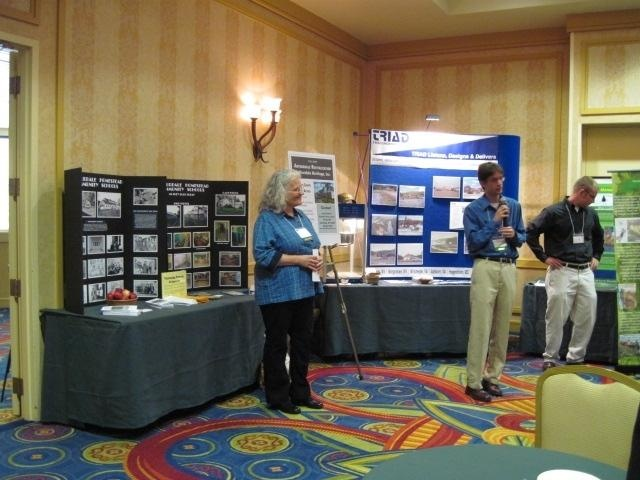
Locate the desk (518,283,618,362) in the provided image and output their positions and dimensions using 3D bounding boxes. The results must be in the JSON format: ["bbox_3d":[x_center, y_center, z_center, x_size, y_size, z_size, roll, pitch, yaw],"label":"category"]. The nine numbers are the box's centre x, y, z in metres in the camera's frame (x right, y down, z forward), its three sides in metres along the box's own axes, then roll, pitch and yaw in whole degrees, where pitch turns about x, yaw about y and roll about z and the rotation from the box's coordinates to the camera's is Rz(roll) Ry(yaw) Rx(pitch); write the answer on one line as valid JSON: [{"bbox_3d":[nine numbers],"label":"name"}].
[{"bbox_3d":[3.056,0.933,5.904,1.366,0.755,1.360,-6,-9,30],"label":"desk"}]

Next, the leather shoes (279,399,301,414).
[{"bbox_3d":[-0.239,1.315,4.062,0.190,0.074,0.072,-5,-6,29],"label":"leather shoes"}]

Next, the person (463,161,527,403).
[{"bbox_3d":[1.477,0.354,4.432,0.504,2.008,0.391,-2,5,-28],"label":"person"}]

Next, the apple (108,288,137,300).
[{"bbox_3d":[-1.519,0.424,3.939,0.127,0.069,0.128,1,-1,31],"label":"apple"}]

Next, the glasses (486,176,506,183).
[{"bbox_3d":[1.480,-0.503,4.368,0.117,0.045,0.152,0,2,16],"label":"glasses"}]

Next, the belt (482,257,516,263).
[{"bbox_3d":[1.477,0.175,4.322,0.278,0.058,0.045,-1,5,-12],"label":"belt"}]

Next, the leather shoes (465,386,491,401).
[{"bbox_3d":[1.346,1.315,4.405,0.079,0.075,0.192,1,-4,-31],"label":"leather shoes"}]

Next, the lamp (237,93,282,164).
[{"bbox_3d":[-0.635,-1.275,5.858,0.304,0.783,0.530,3,5,26],"label":"lamp"}]

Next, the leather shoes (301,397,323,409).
[{"bbox_3d":[-0.071,1.323,4.207,0.164,0.067,0.084,-2,-4,12],"label":"leather shoes"}]

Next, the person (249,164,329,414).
[{"bbox_3d":[-0.259,0.411,4.076,0.550,1.904,0.439,0,5,-10],"label":"person"}]

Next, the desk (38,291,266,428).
[{"bbox_3d":[-1.243,0.946,4.013,1.566,0.861,0.727,-3,6,-36],"label":"desk"}]

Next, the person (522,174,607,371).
[{"bbox_3d":[2.408,0.321,5.040,0.694,1.835,0.423,-1,5,-17],"label":"person"}]
